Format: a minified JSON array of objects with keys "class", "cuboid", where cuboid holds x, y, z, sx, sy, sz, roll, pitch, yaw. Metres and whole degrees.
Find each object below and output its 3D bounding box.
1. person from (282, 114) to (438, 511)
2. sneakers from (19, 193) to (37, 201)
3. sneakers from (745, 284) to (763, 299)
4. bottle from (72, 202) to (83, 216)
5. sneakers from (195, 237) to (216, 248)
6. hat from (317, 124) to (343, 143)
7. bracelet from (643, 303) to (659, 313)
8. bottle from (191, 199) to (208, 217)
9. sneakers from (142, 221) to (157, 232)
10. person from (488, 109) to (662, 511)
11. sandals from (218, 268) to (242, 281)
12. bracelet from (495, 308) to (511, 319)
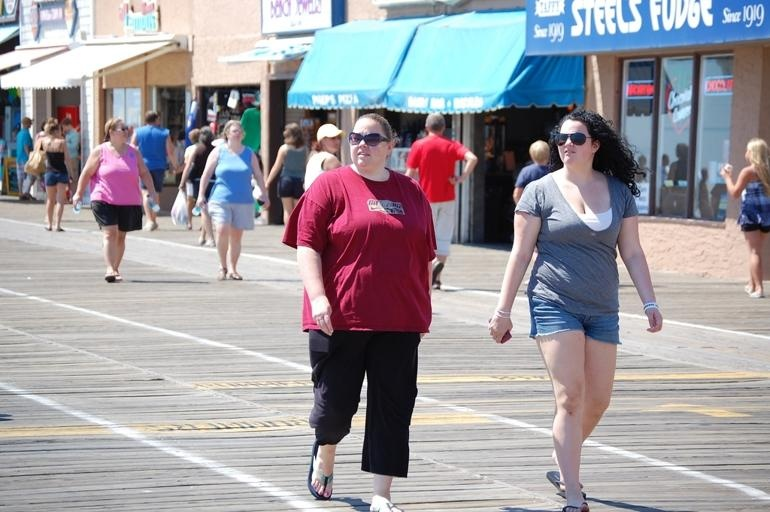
[{"class":"person","cuboid":[-0.191,0.459,11.459,1.154,3.163,0.809,1,10,1]},{"class":"sneakers","cuboid":[-9.158,-1.532,35.669,0.555,0.254,0.192,-1,10,-27]},{"class":"sneakers","cuboid":[5.106,0.508,19.281,0.095,0.190,0.304,-3,-12,28]},{"class":"bottle","cuboid":[-5.419,-0.828,24.497,0.120,0.374,0.154,15,-45,-21]},{"class":"sneakers","cuboid":[-3.089,-0.231,23.892,0.356,0.166,0.135,4,0,-9]},{"class":"hat","cuboid":[-0.709,-1.536,17.048,0.300,0.175,0.222,-15,-5,43]},{"class":"bracelet","cuboid":[2.239,0.448,11.726,0.084,0.033,0.089,-12,19,10]},{"class":"bottle","cuboid":[-2.975,-0.781,22.311,0.102,0.109,0.339,17,-22,-23]},{"class":"sneakers","cuboid":[-4.468,-0.573,26.498,0.131,0.170,0.373,-6,9,-5]},{"class":"person","cuboid":[1.635,0.401,11.687,1.273,3.133,0.900,-6,12,-36]},{"class":"sandals","cuboid":[-2.212,0.255,19.742,0.437,0.199,0.140,-4,0,29]},{"class":"bracelet","cuboid":[1.000,0.478,11.680,0.094,0.053,0.076,-1,1,-31]}]
